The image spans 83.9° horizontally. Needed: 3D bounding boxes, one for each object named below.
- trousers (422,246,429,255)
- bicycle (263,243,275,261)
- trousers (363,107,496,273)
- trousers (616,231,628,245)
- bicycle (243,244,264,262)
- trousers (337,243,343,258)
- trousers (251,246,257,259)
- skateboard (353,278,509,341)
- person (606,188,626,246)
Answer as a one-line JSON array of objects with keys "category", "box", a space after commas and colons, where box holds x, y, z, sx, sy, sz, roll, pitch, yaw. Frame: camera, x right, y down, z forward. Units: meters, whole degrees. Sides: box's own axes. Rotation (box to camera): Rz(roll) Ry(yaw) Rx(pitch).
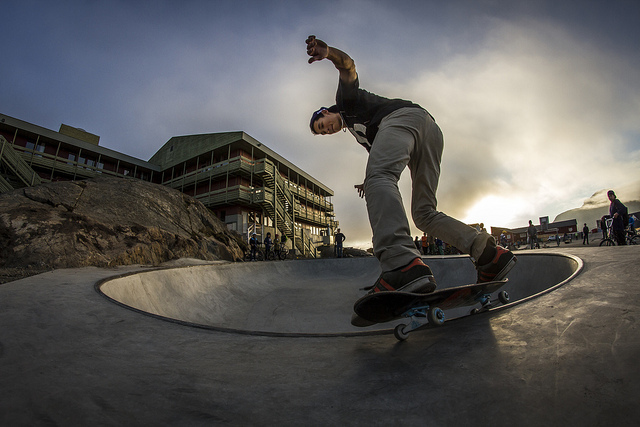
[{"category": "trousers", "box": [5.439, 1.853, 17.671, 0.335, 0.519, 0.177, 6, 0, 1]}, {"category": "bicycle", "box": [-2.971, 1.903, 17.335, 0.520, 0.696, 1.058, -18, -16, 29]}, {"category": "trousers", "box": [0.633, -0.115, 2.266, 0.754, 1.437, 0.572, -19, -53, 27]}, {"category": "trousers", "box": [7.301, 0.564, 8.060, 0.152, 0.273, 0.338, -11, -12, 41]}, {"category": "bicycle", "box": [-3.201, 1.832, 15.827, 1.044, 0.705, 0.540, -13, 9, 26]}, {"category": "trousers", "box": [0.676, 1.600, 15.436, 0.195, 0.515, 0.867, -3, -10, -6]}, {"category": "trousers", "box": [-3.339, 1.631, 15.313, 0.190, 0.671, 0.148, 15, -17, -38]}, {"category": "skateboard", "box": [0.695, 0.475, 1.918, 1.151, 0.214, 0.359, 8, -33, -34]}, {"category": "person", "box": [7.105, 0.119, 7.884, 0.287, 1.112, 1.053, -11, -11, 41]}]
